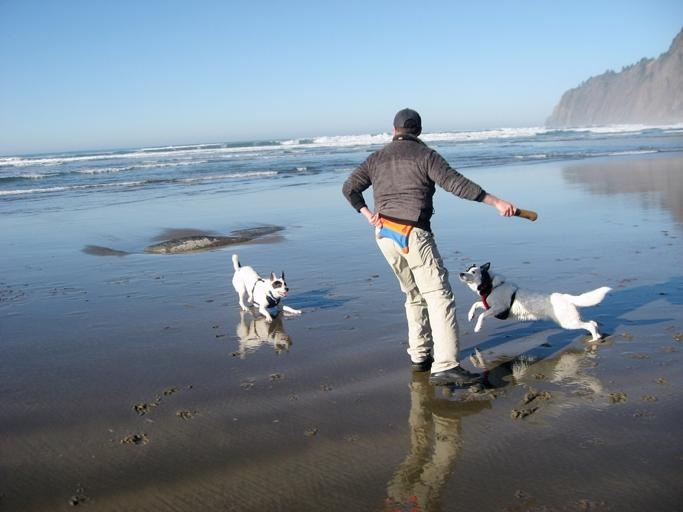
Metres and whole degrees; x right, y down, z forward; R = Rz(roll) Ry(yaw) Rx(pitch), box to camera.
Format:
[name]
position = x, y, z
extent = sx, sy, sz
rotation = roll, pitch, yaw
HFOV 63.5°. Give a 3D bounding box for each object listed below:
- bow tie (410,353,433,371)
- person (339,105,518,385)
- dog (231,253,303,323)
[bow tie]
position = 0.858, 1.125, 5.768
extent = 0.121, 0.086, 0.289
rotation = 5, 7, 34
[person]
position = 0.819, -0.094, 5.441
extent = 1.002, 2.717, 1.101
rotation = -15, 17, -12
[dog]
position = -1.130, 0.503, 7.877
extent = 0.682, 0.611, 1.179
rotation = -13, 14, -21
